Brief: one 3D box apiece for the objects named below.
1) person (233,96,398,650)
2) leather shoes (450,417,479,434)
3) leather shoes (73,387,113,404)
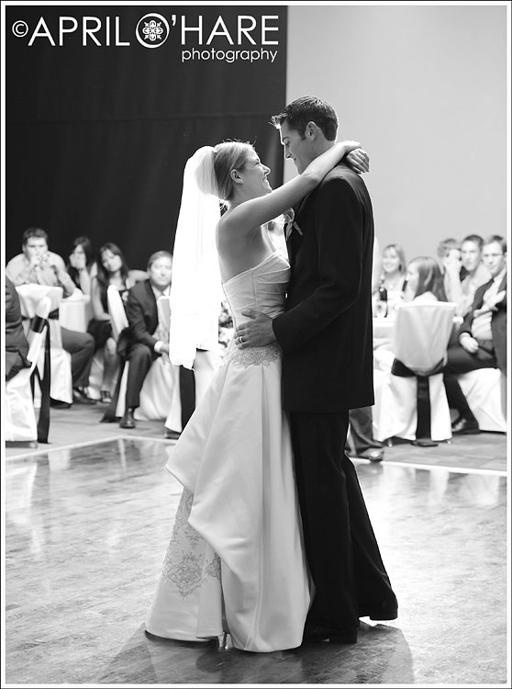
[{"bbox_3d":[0.172,0.158,1.833,0.437,1.252,0.290,1,4,-3],"label":"person"},{"bbox_3d":[1.631,0.641,5.605,0.200,0.134,0.121,3,5,18],"label":"leather shoes"},{"bbox_3d":[-1.690,0.532,7.389,0.413,0.200,0.154,-1,1,8],"label":"leather shoes"}]
